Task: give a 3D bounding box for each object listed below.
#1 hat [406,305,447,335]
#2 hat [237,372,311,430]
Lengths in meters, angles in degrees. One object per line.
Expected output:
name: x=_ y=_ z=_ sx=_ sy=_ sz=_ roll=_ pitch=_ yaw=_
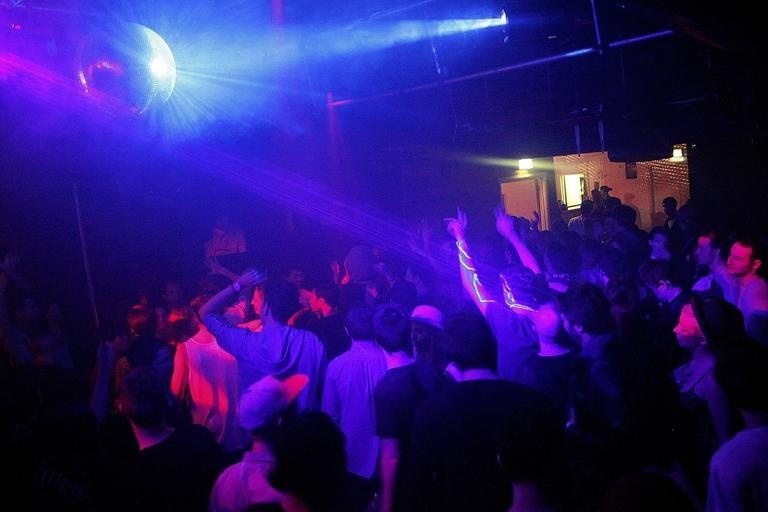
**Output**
hat: x=0.445 y=0.621 z=6.372 sx=0.266 sy=0.111 sz=0.255 roll=14 pitch=-17 yaw=17
hat: x=-1.087 y=1.445 z=6.345 sx=0.720 sy=0.456 sz=0.272 roll=-4 pitch=-1 yaw=-40
